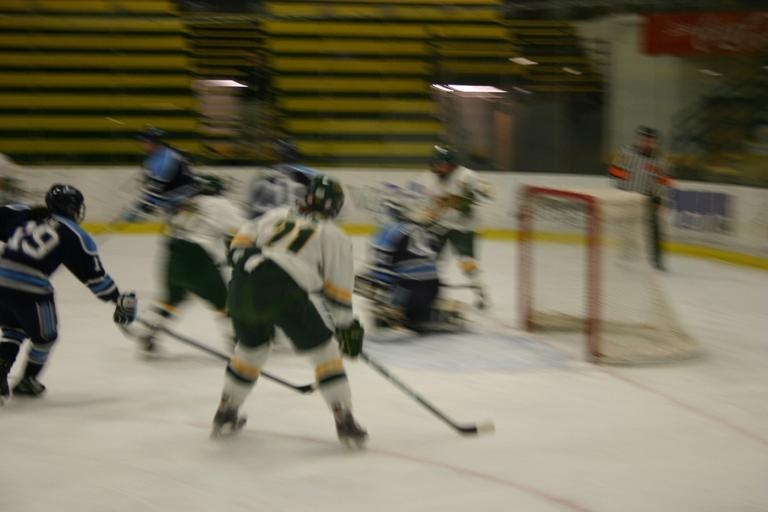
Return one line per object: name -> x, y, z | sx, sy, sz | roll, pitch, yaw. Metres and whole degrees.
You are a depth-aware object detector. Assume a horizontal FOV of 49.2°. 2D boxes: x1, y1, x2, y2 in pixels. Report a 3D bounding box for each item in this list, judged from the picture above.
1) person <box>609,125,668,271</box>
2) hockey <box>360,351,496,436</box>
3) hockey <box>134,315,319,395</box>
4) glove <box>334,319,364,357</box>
person -> 3.048, -0.673, 9.831 | 0.722, 1.619, 1.008 | 2, 14, 4
hockey -> 0.270, 0.937, 6.023 | 0.143, 0.368, 1.465 | -22, 25, -32
hockey -> -1.182, 0.775, 6.372 | 1.229, 0.094, 0.177 | 25, 52, 17
glove -> -0.235, 0.545, 5.634 | 0.217, 0.255, 0.167 | 6, 15, 18
